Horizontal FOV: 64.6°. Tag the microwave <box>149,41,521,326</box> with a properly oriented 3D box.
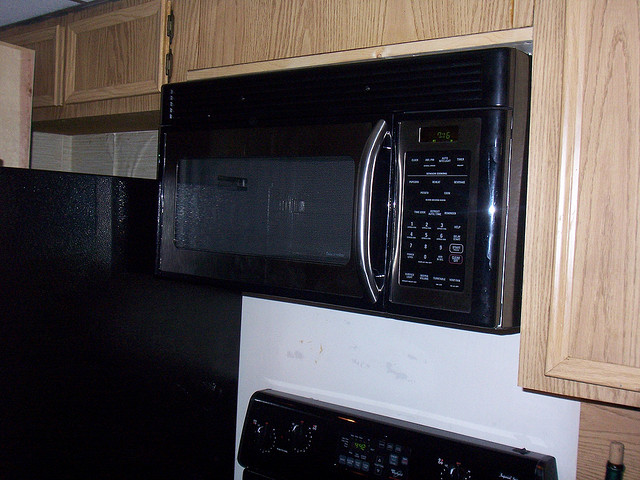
[{"bbox_3d":[0.000,-0.139,1.162,0.862,0.433,0.127,7,3,27],"label":"microwave"}]

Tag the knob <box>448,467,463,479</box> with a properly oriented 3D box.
[{"bbox_3d":[0.348,0.602,1.299,0.032,0.025,0.023,1,-7,35],"label":"knob"}]
